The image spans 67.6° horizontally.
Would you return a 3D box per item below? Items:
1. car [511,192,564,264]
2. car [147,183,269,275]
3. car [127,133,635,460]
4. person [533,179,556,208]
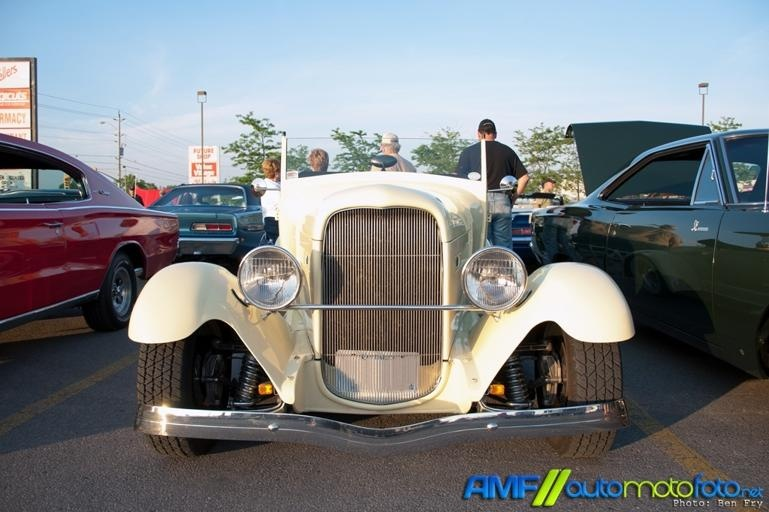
[{"bbox_3d":[2.497,-0.479,9.783,0.750,0.753,1.744,1,11,6],"label":"car"},{"bbox_3d":[-3.026,-0.554,10.198,1.552,0.931,2.857,0,-3,4],"label":"car"},{"bbox_3d":[-0.106,0.378,5.507,2.078,1.653,3.572,0,-4,1],"label":"car"},{"bbox_3d":[2.259,-0.899,8.119,0.331,0.427,1.396,-2,9,13],"label":"person"}]
